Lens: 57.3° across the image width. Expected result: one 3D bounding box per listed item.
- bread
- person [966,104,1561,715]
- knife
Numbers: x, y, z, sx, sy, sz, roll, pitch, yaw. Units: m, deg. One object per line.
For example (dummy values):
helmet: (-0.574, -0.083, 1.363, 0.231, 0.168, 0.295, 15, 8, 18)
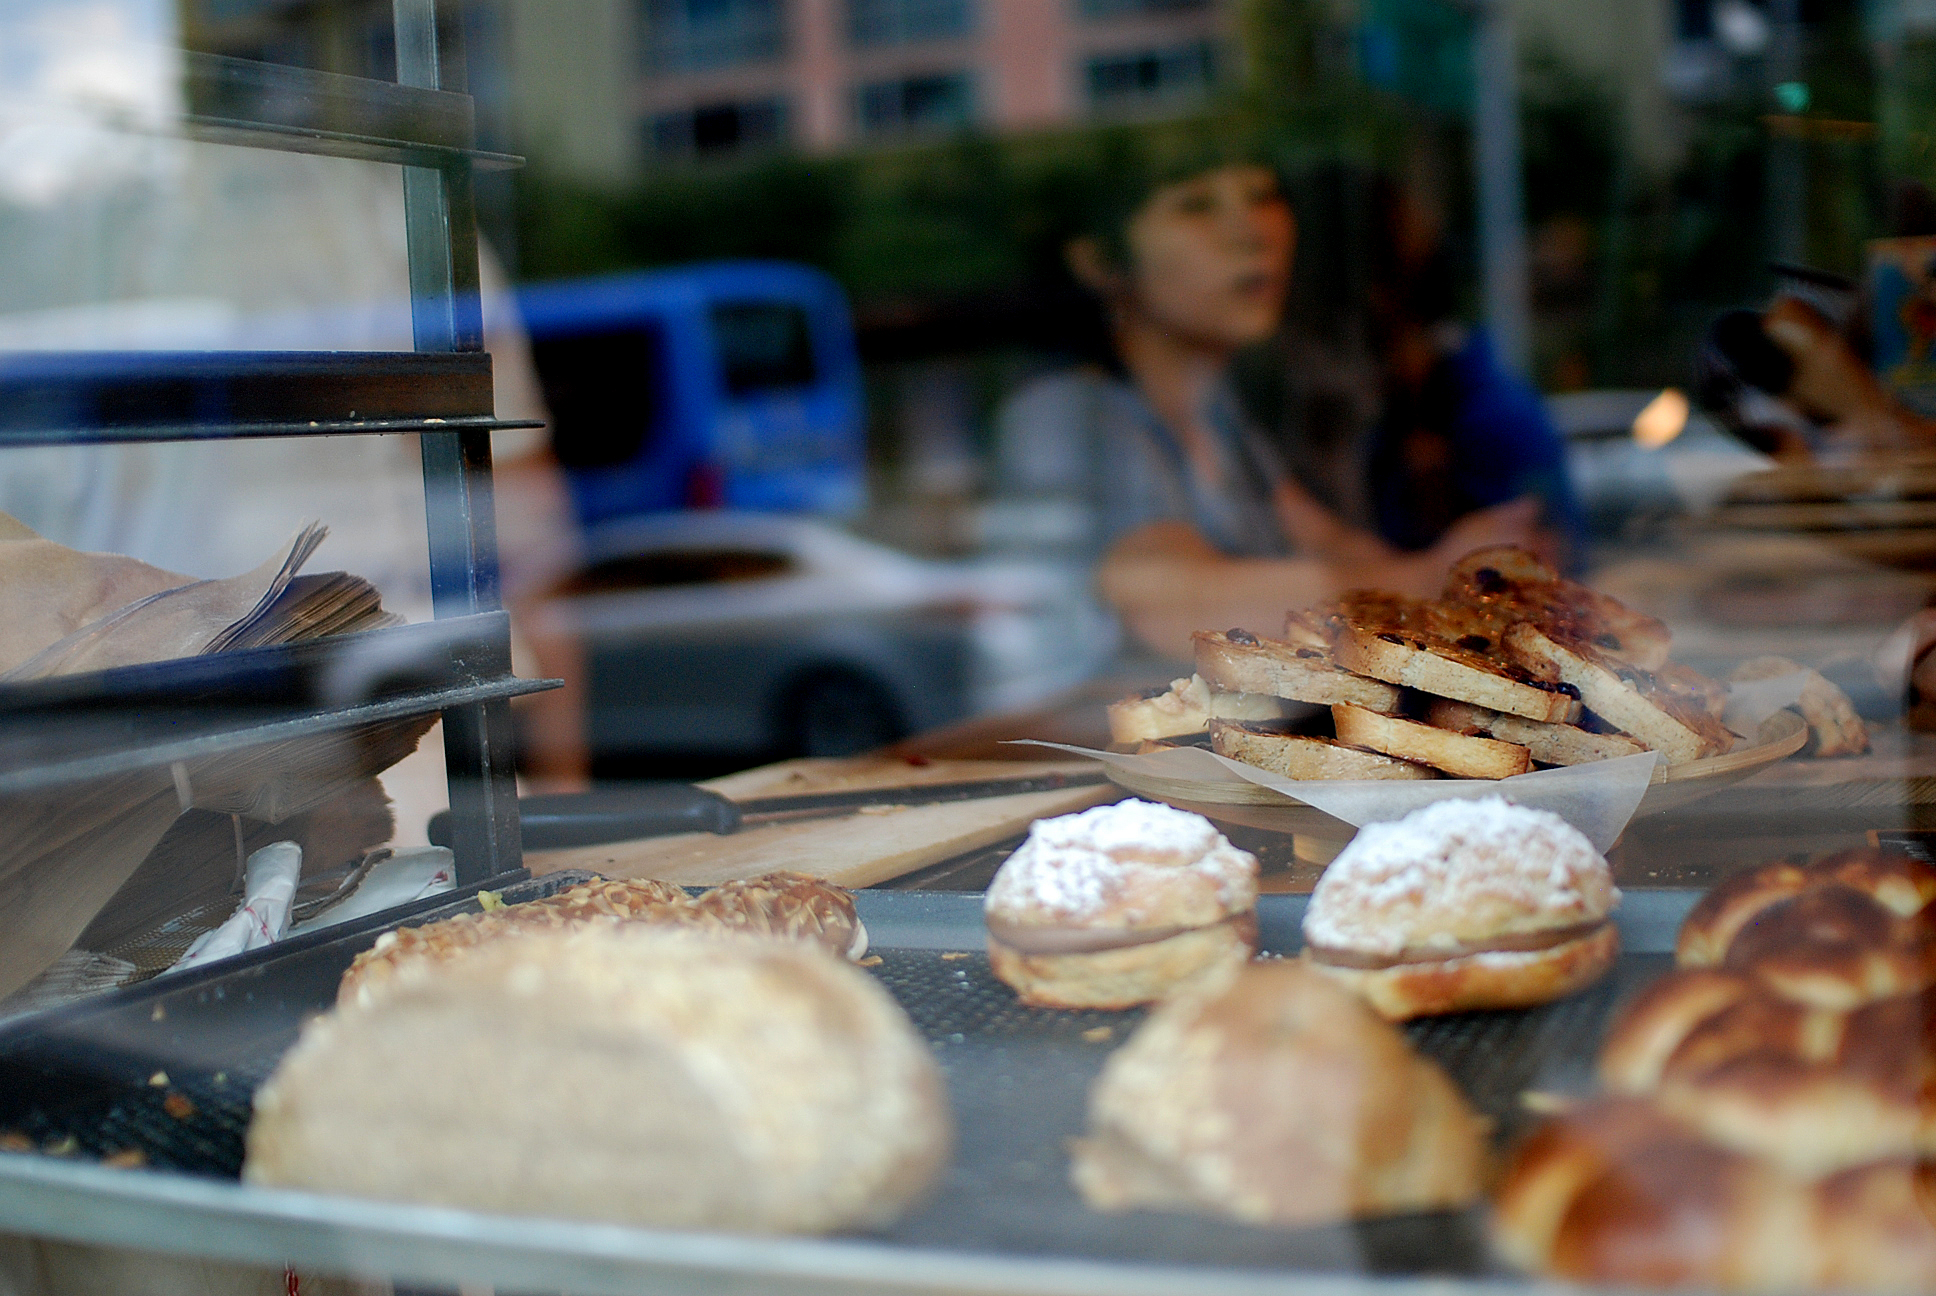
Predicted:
bread: (0.089, 0.172, 0.996, 0.941, 0.262, 0.335, -4, 17, 8)
person: (0.306, -0.249, 1.877, 0.630, 0.711, 0.477, -1, 18, 16)
knife: (-0.183, 0.146, 1.566, 0.440, 0.030, 0.069, -3, -5, -7)
